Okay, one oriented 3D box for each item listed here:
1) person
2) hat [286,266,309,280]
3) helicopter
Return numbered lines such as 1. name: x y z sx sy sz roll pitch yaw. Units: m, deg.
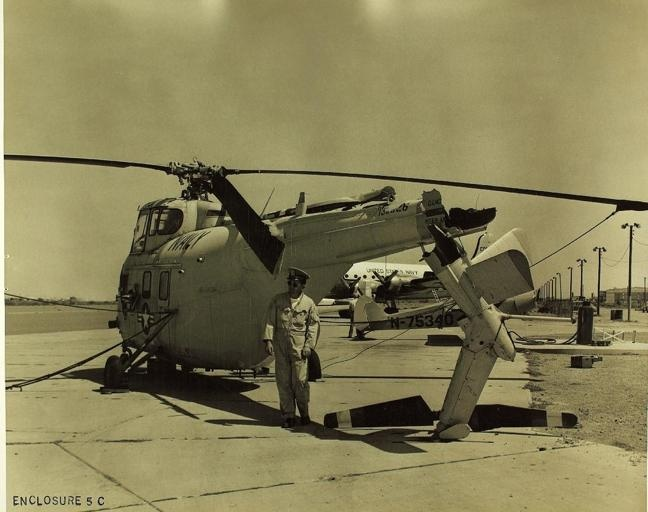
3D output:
1. person: -0.447 1.244 8.774 0.764 2.123 0.612 0 3 -9
2. hat: -0.363 0.243 9.053 0.227 0.080 0.201 15 -7 -19
3. helicopter: -0.435 0.451 9.794 7.314 3.549 1.992 2 3 25
